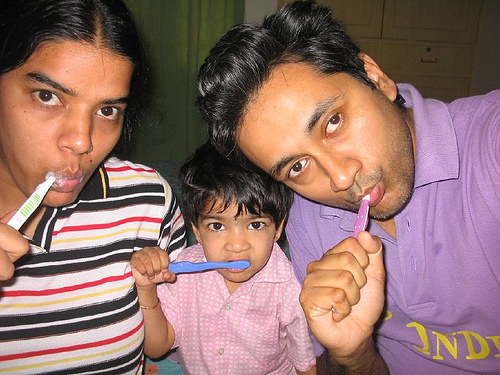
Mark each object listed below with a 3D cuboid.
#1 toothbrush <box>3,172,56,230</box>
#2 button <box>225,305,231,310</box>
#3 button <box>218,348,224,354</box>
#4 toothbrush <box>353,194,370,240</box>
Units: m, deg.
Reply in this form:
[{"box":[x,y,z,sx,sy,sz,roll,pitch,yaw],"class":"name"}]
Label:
[{"box":[-0.614,0.029,1.275,0.097,0.130,0.136,9,19,23],"class":"toothbrush"},{"box":[-0.082,0.433,1.698,0.018,0.019,0.004,0,-7,-20],"class":"button"},{"box":[-0.106,0.589,1.695,0.020,0.017,0.007,-1,17,-9],"class":"button"},{"box":[0.341,0.075,1.381,0.017,0.030,0.172,-33,24,54],"class":"toothbrush"}]
